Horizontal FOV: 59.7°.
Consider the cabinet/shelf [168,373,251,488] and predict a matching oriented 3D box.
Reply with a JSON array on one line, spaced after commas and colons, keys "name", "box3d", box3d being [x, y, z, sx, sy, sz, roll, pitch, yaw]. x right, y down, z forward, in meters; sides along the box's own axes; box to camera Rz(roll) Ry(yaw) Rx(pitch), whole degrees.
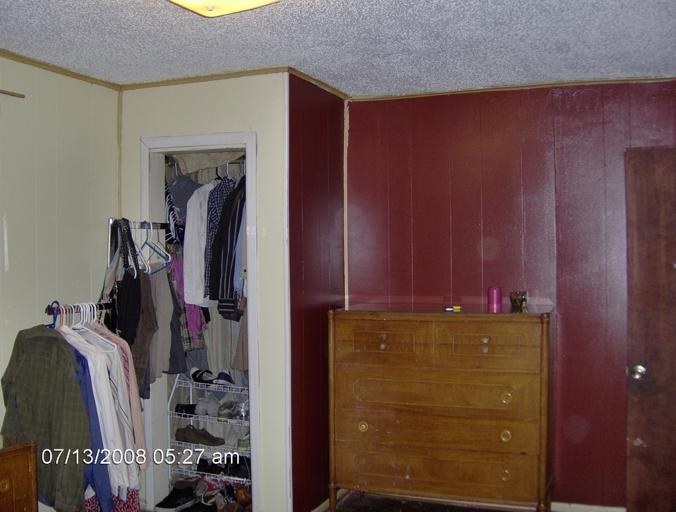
[{"name": "cabinet/shelf", "box3d": [-0.906, 1.271, 4.197, 0.804, 0.889, 0.300, 1, 2, 21]}]

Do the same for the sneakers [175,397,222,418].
[{"name": "sneakers", "box3d": [-0.999, 1.077, 4.289, 0.377, 0.165, 0.134, 3, -5, 10]}]

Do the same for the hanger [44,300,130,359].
[{"name": "hanger", "box3d": [-1.655, 0.437, 3.680, 0.213, 0.354, 0.746, -1, -5, 34]}]

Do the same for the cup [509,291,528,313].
[{"name": "cup", "box3d": [1.203, 0.317, 3.971, 0.115, 0.145, 0.128, 0, -7, 7]}]

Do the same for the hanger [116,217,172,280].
[{"name": "hanger", "box3d": [-1.383, -0.044, 4.138, 0.394, 0.291, 0.141, -3, -5, 33]}]

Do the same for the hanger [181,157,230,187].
[{"name": "hanger", "box3d": [-0.983, -0.650, 4.333, 0.277, 0.111, 0.222, -4, -6, 33]}]

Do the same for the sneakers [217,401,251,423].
[{"name": "sneakers", "box3d": [-0.740, 1.106, 4.162, 0.175, 0.092, 0.122, -1, -4, -4]}]

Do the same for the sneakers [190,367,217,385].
[{"name": "sneakers", "box3d": [-0.993, 0.876, 4.316, 0.198, 0.087, 0.084, 11, 7, 22]}]

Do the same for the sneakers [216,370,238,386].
[{"name": "sneakers", "box3d": [-0.823, 0.894, 4.306, 0.062, 0.079, 0.181, -2, -14, 11]}]

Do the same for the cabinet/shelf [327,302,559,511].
[{"name": "cabinet/shelf", "box3d": [0.676, 0.961, 3.772, 1.310, 1.394, 0.610, 0, -2, 16]}]
